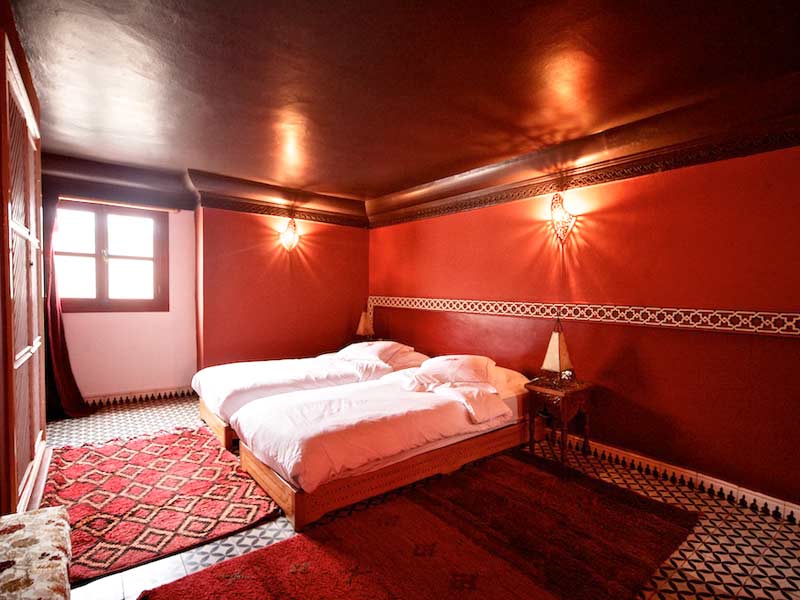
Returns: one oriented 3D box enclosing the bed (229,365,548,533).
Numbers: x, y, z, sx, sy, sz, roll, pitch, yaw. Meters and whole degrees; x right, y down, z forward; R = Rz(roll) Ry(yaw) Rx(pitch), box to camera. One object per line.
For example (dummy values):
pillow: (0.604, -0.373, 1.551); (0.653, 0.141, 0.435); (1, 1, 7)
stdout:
bed: (-0.114, 1.191, 4.644); (1.859, 0.431, 0.992); (-6, 7, -36)

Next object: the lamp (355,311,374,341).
lamp: (-0.516, 0.406, 7.940); (0.258, 0.448, 0.508); (1, 5, -6)

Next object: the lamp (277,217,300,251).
lamp: (-1.531, -0.911, 7.251); (0.284, 0.394, 0.121); (0, -2, -13)

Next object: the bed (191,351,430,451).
bed: (-1.065, 0.874, 5.938); (1.976, 0.635, 1.186); (0, 2, -37)

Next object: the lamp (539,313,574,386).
lamp: (1.624, 0.522, 5.315); (0.313, 0.654, 0.573); (3, 5, 18)

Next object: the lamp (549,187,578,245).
lamp: (1.733, -0.871, 5.534); (0.081, 0.547, 0.307); (-2, 6, -35)
